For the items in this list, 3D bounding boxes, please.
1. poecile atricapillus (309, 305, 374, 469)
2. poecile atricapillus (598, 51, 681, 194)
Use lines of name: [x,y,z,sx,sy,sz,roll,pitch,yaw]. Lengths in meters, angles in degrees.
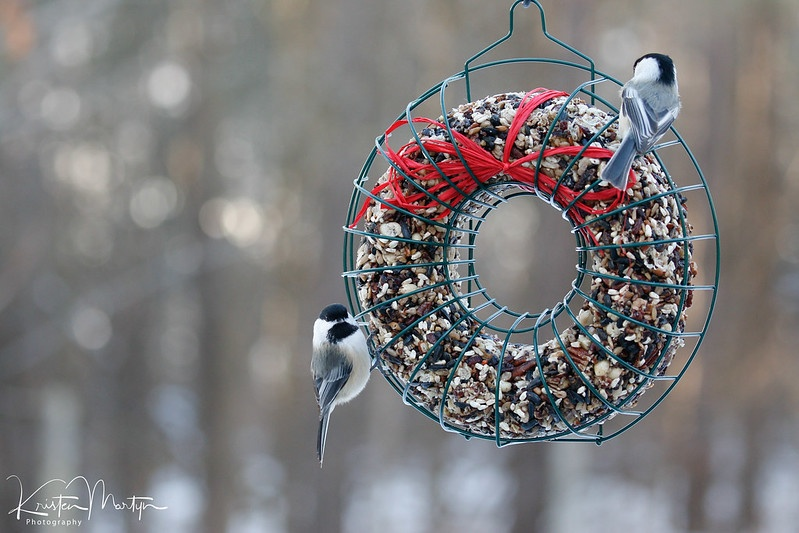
poecile atricapillus: [-0.283,0.585,6.902,0.249,0.369,0.954,6,-94,28]
poecile atricapillus: [1.237,-0.720,6.566,0.270,0.838,0.332,24,-43,-16]
